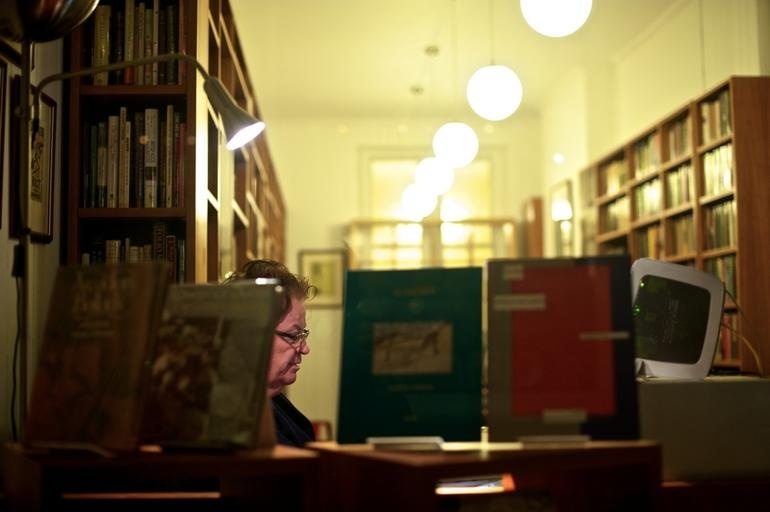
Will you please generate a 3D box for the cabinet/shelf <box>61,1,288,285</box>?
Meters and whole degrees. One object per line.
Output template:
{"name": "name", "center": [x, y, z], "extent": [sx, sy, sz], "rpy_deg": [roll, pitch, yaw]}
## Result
{"name": "cabinet/shelf", "center": [-1.006, -0.553, 3.318], "extent": [0.464, 1.446, 1.513], "rpy_deg": [-1, 10, 0]}
